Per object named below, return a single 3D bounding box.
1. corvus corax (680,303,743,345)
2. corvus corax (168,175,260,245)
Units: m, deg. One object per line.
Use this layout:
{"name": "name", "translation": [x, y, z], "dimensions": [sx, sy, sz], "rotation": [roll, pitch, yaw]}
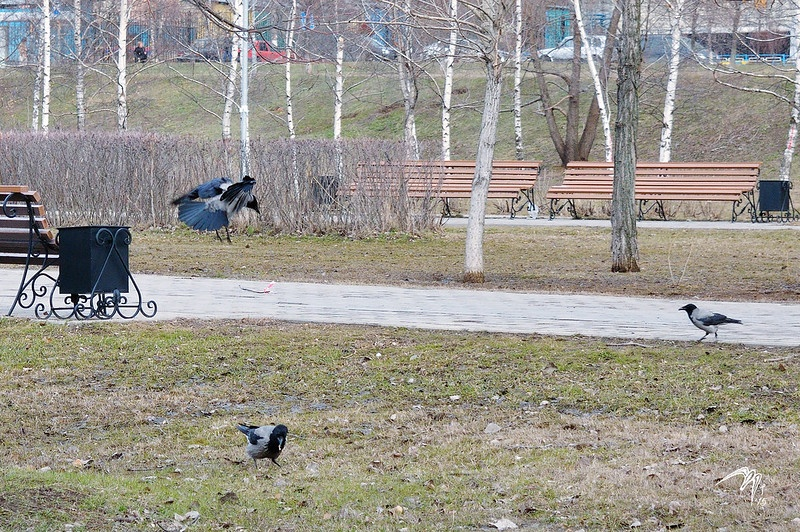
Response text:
{"name": "corvus corax", "translation": [7.614, 1.344, 44.680], "dimensions": [1.261, 0.813, 1.329], "rotation": [0, 7, -2]}
{"name": "corvus corax", "translation": [-4.653, -1.596, 47.329], "dimensions": [1.729, 1.111, 1.710], "rotation": [15, 10, 33]}
